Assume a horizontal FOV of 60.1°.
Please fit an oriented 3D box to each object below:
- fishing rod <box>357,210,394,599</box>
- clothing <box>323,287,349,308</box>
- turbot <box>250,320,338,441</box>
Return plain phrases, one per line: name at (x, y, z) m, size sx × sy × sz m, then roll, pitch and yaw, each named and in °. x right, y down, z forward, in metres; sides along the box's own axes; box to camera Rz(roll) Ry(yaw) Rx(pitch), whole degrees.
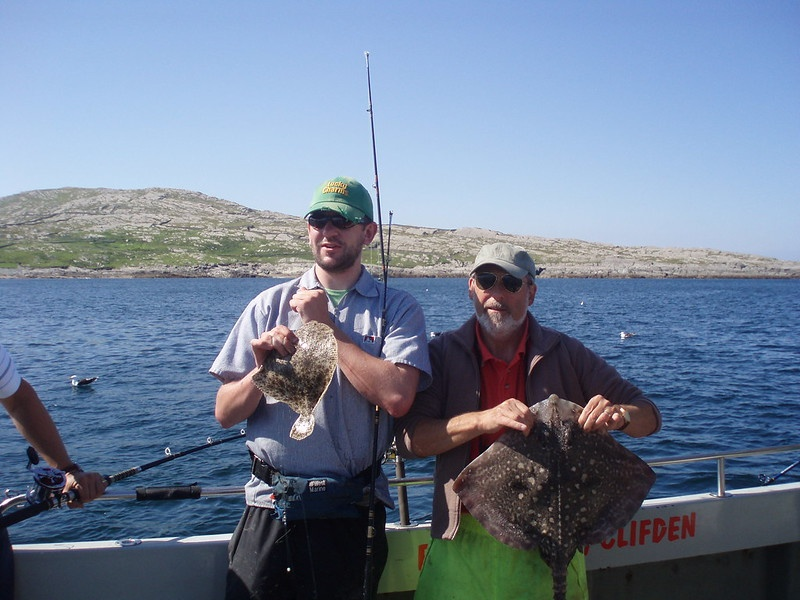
fishing rod at (-0.203, 0.883, 5.480) m, size 0.056 × 3.380 × 0.161 m, roll 2°, pitch -8°, yaw 11°
clothing at (-0.520, -0.026, 5.583) m, size 0.135 × 0.158 × 0.181 m, roll 1°, pitch -4°, yaw 2°
turbot at (-0.724, 0.580, 5.245) m, size 0.635 × 0.899 × 0.164 m, roll 1°, pitch -4°, yaw 6°
